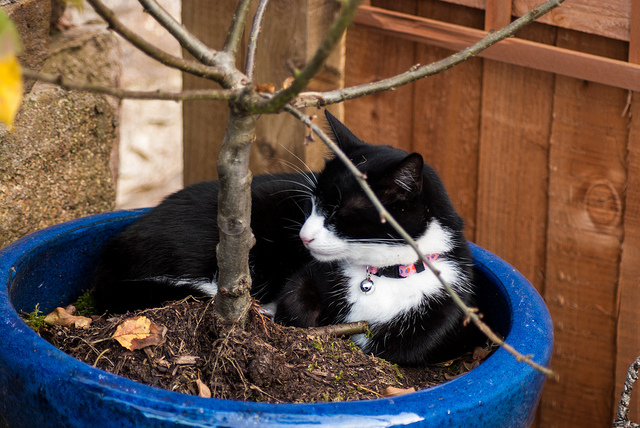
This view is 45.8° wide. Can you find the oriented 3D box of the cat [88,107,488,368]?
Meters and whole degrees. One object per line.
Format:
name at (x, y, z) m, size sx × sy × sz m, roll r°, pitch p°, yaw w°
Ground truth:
cat at (-0.157, 0.073, 2.866) m, size 1.400 × 0.742 × 0.874 m, roll 3°, pitch 8°, yaw 27°
